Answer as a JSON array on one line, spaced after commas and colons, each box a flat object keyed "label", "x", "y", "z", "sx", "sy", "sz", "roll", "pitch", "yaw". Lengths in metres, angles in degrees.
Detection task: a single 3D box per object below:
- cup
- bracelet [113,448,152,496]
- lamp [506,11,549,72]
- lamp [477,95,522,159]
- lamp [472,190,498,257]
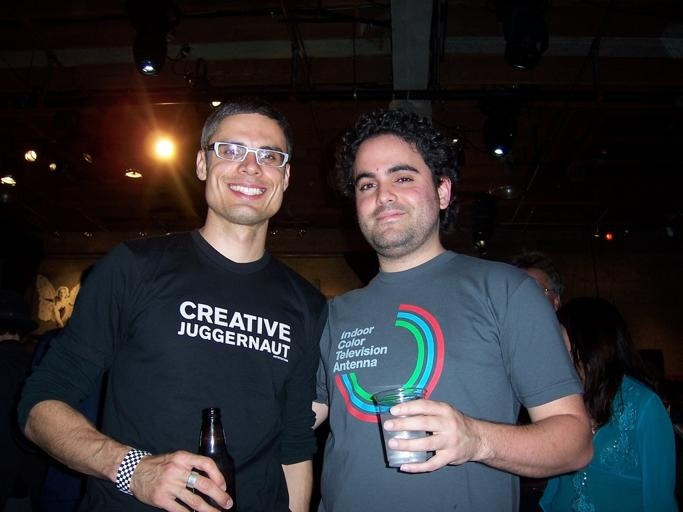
[{"label": "cup", "x": 0.222, "y": 0.828, "z": 2.510, "sx": 0.324, "sy": 0.399, "sz": 0.364, "roll": -2, "pitch": -26, "yaw": 2}, {"label": "bracelet", "x": -0.993, "y": 1.020, "z": 2.533, "sx": 0.182, "sy": 0.187, "sz": 0.190, "roll": -18, "pitch": 0, "yaw": -42}, {"label": "lamp", "x": 1.878, "y": -2.202, "z": 5.319, "sx": 0.409, "sy": 0.548, "sz": 0.133, "roll": 2, "pitch": 22, "yaw": 6}, {"label": "lamp", "x": 2.140, "y": -1.765, "z": 7.156, "sx": 0.648, "sy": 0.791, "sz": 0.634, "roll": -2, "pitch": 6, "yaw": -27}, {"label": "lamp", "x": 2.887, "y": -0.629, "z": 10.515, "sx": 0.454, "sy": 1.390, "sz": 0.448, "roll": 3, "pitch": 8, "yaw": 0}]
